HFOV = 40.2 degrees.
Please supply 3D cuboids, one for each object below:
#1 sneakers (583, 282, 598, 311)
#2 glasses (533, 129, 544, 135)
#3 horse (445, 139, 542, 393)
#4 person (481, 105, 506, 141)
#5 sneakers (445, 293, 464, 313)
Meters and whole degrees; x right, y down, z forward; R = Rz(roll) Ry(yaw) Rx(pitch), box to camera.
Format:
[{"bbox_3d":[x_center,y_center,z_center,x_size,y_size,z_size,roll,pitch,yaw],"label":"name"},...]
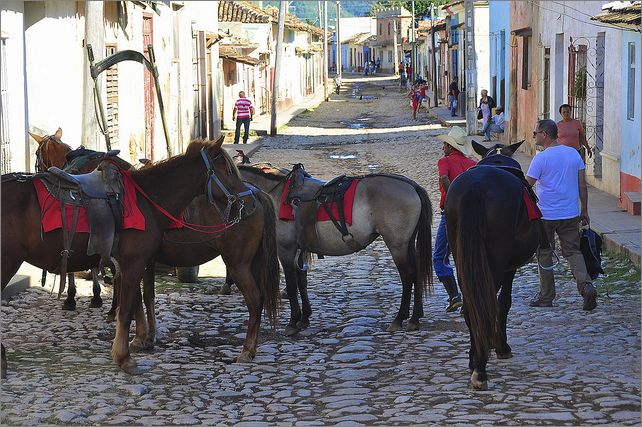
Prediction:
[{"bbox_3d":[3.310,1.023,10.848,0.160,0.336,0.156,-7,37,6],"label":"sneakers"},{"bbox_3d":[2.711,-1.011,11.006,0.052,0.065,0.144,-5,9,-30],"label":"glasses"},{"bbox_3d":[1.782,0.608,9.366,0.686,2.247,1.179,5,9,35],"label":"horse"},{"bbox_3d":[5.117,-2.637,25.951,0.603,0.996,0.842,1,8,11],"label":"person"},{"bbox_3d":[1.511,1.019,10.002,0.180,0.198,0.496,-6,-7,-14],"label":"sneakers"}]
